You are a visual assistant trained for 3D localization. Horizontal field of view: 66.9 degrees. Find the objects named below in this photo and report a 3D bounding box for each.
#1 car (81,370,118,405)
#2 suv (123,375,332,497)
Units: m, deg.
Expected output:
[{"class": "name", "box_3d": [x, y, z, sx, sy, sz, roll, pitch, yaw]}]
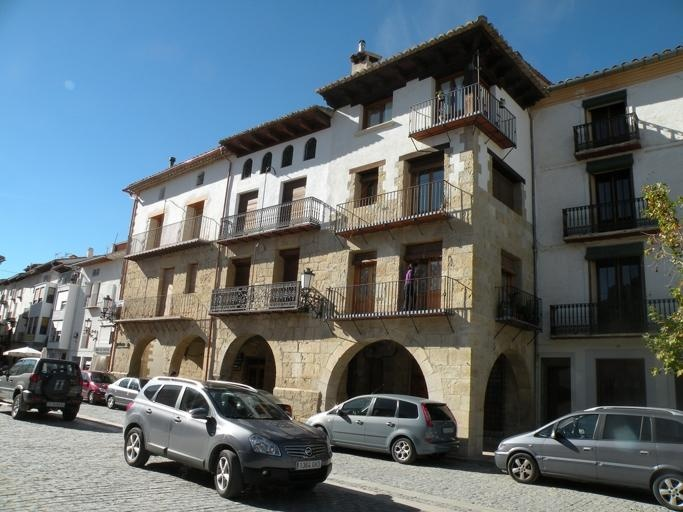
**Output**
[{"class": "car", "box_3d": [-12.155, 6.483, 25.744, 1.580, 1.245, 2.711, 12, -22, -40]}, {"class": "suv", "box_3d": [-2.552, 3.825, 11.219, 4.468, 2.050, 1.478, 0, -10, 31]}]
